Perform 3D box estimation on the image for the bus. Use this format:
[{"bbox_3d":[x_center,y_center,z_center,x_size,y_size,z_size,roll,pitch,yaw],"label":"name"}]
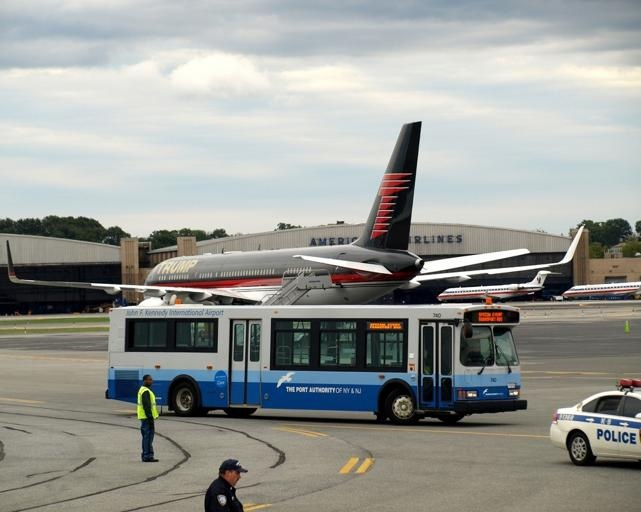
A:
[{"bbox_3d":[-1.920,3.321,35.556,16.211,3.395,4.673,-4,-5,32],"label":"bus"}]
